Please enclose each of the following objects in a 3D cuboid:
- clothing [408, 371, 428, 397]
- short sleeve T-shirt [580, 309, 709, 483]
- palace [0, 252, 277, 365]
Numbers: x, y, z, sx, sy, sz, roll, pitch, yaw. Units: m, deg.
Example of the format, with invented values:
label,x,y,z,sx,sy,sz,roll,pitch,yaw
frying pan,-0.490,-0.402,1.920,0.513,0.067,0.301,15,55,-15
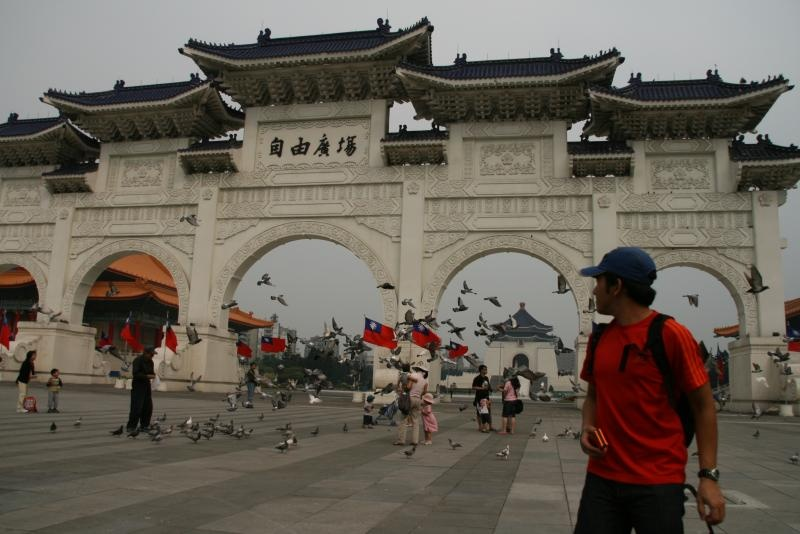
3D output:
label,x,y,z,sx,sy,sz,roll,pitch,yaw
clothing,0.354,2.289,13.558,0.414,0.368,0.228,11,-19,-30
short sleeve T-shirt,2.525,1.338,7.175,1.189,1.684,0.542,0,10,13
palace,-13.954,1.859,36.956,13.070,8.003,8.560,0,-6,12
